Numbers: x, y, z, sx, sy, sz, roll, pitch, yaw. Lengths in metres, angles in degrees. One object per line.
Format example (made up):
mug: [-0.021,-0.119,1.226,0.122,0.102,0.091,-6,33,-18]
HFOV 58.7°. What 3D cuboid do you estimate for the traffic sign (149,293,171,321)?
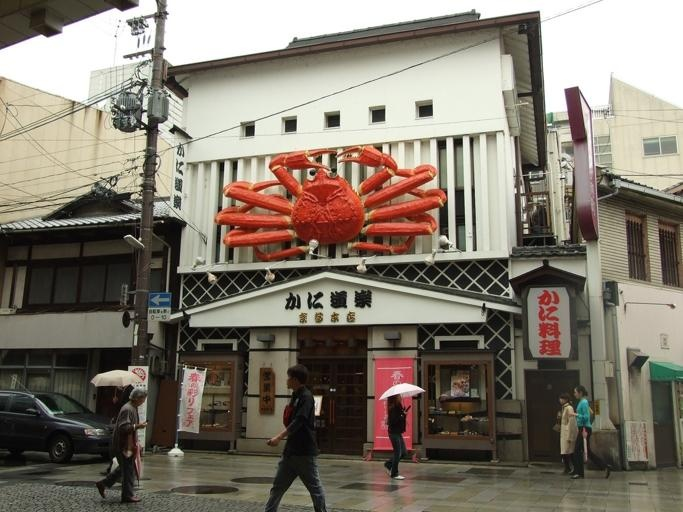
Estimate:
traffic sign: [-5.177,1.421,17.297,0.861,1.047,0.119,-2,-2,3]

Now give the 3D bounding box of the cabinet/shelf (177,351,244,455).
cabinet/shelf: [-4.167,4.649,19.750,2.277,3.094,1.113,-4,-9,11]

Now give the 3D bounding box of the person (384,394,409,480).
person: [1.276,4.294,14.551,0.507,1.916,0.872,-1,-11,4]

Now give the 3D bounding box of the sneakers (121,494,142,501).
sneakers: [-3.842,4.439,11.143,0.340,0.128,0.221,3,-11,-20]

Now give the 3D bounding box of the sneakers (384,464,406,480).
sneakers: [1.227,5.098,14.269,0.192,0.246,0.614,12,-21,-41]

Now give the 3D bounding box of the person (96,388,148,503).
person: [-3.975,3.482,11.200,0.643,2.024,0.729,4,-12,-23]

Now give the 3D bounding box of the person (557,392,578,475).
person: [5.636,4.437,15.217,0.402,1.976,1.028,-4,-12,16]

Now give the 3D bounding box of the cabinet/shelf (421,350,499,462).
cabinet/shelf: [3.267,4.282,17.483,2.164,2.907,1.140,-2,-16,10]
